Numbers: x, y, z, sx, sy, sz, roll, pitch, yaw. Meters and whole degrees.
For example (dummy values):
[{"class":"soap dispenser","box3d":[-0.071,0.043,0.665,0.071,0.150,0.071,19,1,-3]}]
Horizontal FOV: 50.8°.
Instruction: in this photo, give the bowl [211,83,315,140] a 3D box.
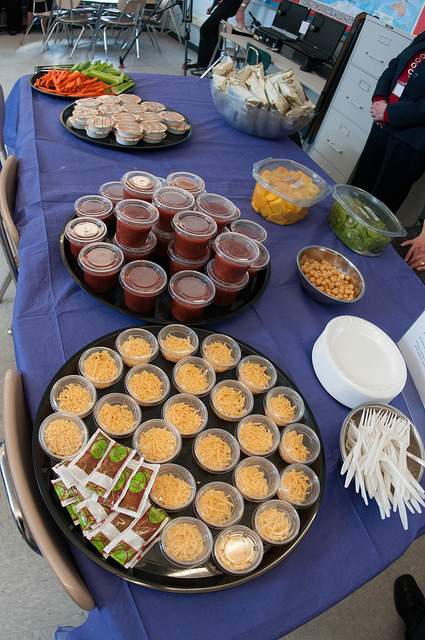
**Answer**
[{"class":"bowl","box3d":[0.207,-0.918,2.062,0.300,0.094,0.295,11,57,-16]}]

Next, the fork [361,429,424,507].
[{"class":"fork","box3d":[0.387,0.325,0.968,0.028,0.026,0.192,-16,66,-20]}]

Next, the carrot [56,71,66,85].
[{"class":"carrot","box3d":[-0.714,-1.146,2.123,0.021,0.019,0.087,-12,51,32]}]

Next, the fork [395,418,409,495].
[{"class":"fork","box3d":[0.419,0.299,0.985,0.030,0.024,0.217,36,46,-10]}]

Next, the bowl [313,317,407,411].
[{"class":"bowl","box3d":[0.391,0.127,1.202,0.243,0.092,0.242,13,52,-17]}]

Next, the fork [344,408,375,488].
[{"class":"fork","box3d":[0.301,0.260,0.948,0.038,0.028,0.271,16,23,19]}]

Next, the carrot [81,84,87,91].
[{"class":"carrot","box3d":[-0.613,-1.104,2.132,0.021,0.022,0.022,5,66,-21]}]

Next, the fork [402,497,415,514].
[{"class":"fork","box3d":[0.414,0.383,0.938,0.010,0.065,0.014,1,39,41]}]

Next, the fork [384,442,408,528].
[{"class":"fork","box3d":[0.382,0.349,0.934,0.019,0.022,0.156,16,61,-33]}]

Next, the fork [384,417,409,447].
[{"class":"fork","box3d":[0.423,0.254,1.022,0.026,0.014,0.101,39,60,10]}]

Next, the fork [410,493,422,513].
[{"class":"fork","box3d":[0.422,0.381,0.929,0.015,0.078,0.009,-31,30,-9]}]

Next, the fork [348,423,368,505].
[{"class":"fork","box3d":[0.305,0.307,0.956,0.019,0.023,0.166,18,46,-29]}]

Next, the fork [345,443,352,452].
[{"class":"fork","box3d":[0.309,0.287,1.007,0.011,0.009,0.012,-6,74,-1]}]

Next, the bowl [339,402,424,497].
[{"class":"bowl","box3d":[0.394,0.305,1.061,0.194,0.066,0.204,6,72,-19]}]

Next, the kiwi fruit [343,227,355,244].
[{"class":"kiwi fruit","box3d":[0.518,-0.316,1.690,0.045,0.035,0.047,-11,83,1]}]

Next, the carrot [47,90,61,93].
[{"class":"carrot","box3d":[-0.738,-1.060,2.078,0.028,0.006,0.029,-15,54,-26]}]

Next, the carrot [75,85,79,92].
[{"class":"carrot","box3d":[-0.641,-1.092,2.110,0.022,0.009,0.026,-4,96,-5]}]

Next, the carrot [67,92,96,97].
[{"class":"carrot","box3d":[-0.607,-1.047,2.079,0.114,0.027,0.020,-4,61,-6]}]

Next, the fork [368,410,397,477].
[{"class":"fork","box3d":[0.376,0.280,0.988,0.019,0.015,0.134,9,67,42]}]

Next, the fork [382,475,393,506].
[{"class":"fork","box3d":[0.373,0.363,0.949,0.004,0.010,0.073,-14,67,10]}]

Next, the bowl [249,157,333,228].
[{"class":"bowl","box3d":[0.296,-0.488,1.722,0.256,0.151,0.299,1,49,-15]}]

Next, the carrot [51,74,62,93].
[{"class":"carrot","box3d":[-0.739,-1.116,2.102,0.038,0.021,0.125,-21,77,24]}]

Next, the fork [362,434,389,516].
[{"class":"fork","box3d":[0.347,0.324,0.960,0.021,0.021,0.181,16,61,-39]}]

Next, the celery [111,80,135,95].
[{"class":"celery","box3d":[-0.432,-1.157,2.243,0.047,0.038,0.162,1,42,44]}]

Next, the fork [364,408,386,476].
[{"class":"fork","box3d":[0.373,0.260,1.005,0.021,0.026,0.197,-8,34,45]}]

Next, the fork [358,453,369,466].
[{"class":"fork","box3d":[0.329,0.305,0.973,0.015,0.007,0.024,1,61,11]}]

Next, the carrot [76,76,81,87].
[{"class":"carrot","box3d":[-0.632,-1.122,2.108,0.022,0.012,0.043,-14,76,-3]}]

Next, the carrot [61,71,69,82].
[{"class":"carrot","box3d":[-0.706,-1.168,2.147,0.016,0.014,0.060,18,58,-7]}]
